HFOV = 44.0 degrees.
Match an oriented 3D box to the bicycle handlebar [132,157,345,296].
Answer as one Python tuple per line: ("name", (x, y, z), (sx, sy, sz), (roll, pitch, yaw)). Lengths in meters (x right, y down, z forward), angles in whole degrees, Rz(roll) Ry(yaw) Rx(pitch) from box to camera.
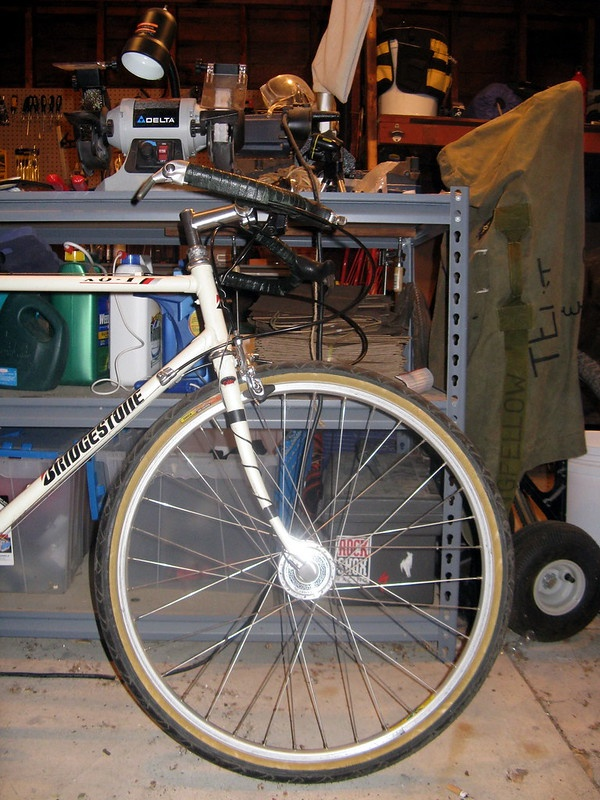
("bicycle handlebar", (-0.123, -0.291, 1.342), (0.344, 0.127, 0.217), (9, 57, -7))

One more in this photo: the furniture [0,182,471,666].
("furniture", (-0.166, 0.090, 1.636), (1.326, 0.409, 1.015), (0, 98, 0))
